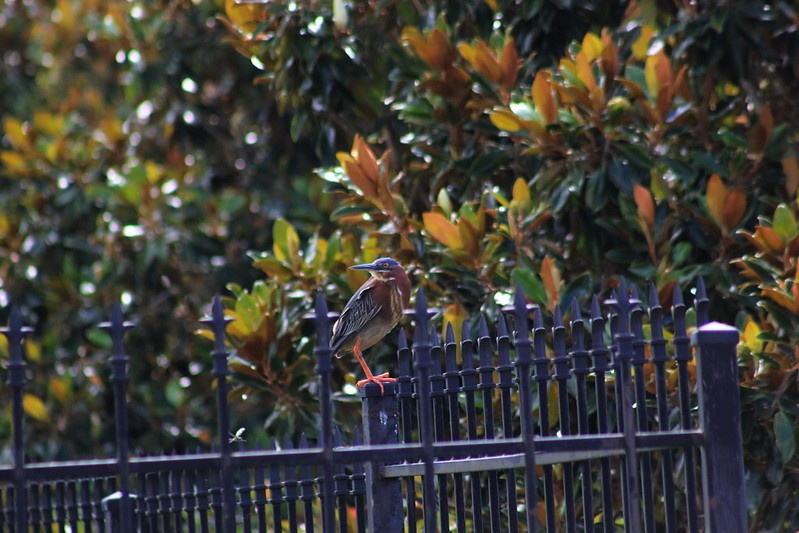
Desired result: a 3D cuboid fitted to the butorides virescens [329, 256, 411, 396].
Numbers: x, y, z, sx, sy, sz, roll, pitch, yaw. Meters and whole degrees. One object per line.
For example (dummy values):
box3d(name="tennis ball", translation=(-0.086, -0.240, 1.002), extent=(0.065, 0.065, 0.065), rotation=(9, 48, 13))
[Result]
box3d(name="butorides virescens", translation=(-0.331, 0.651, 24.815), extent=(0.916, 1.426, 1.117), rotation=(-9, -9, 23))
